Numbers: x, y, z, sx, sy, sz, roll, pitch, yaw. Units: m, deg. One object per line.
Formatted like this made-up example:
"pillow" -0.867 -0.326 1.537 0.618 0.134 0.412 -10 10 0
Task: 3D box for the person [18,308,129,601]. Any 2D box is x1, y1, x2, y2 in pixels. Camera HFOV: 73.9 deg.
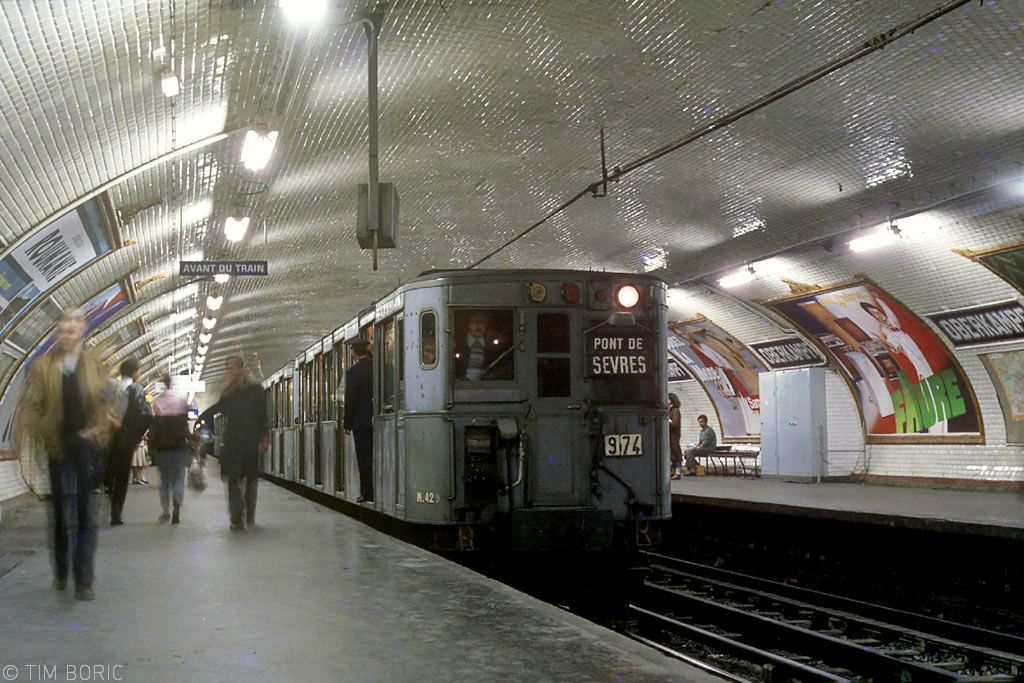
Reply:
"person" -4.071 1.024 6.247 0.692 2.592 0.654 4 -9 -31

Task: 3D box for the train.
"train" -1.090 1.111 11.062 2.521 3.921 6.647 7 -10 -42

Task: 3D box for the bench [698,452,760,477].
"bench" 7.856 4.375 24.440 1.637 0.891 2.993 1 -7 -7

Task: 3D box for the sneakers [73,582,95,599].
"sneakers" -3.855 2.240 6.176 0.156 0.135 0.155 2 0 14
